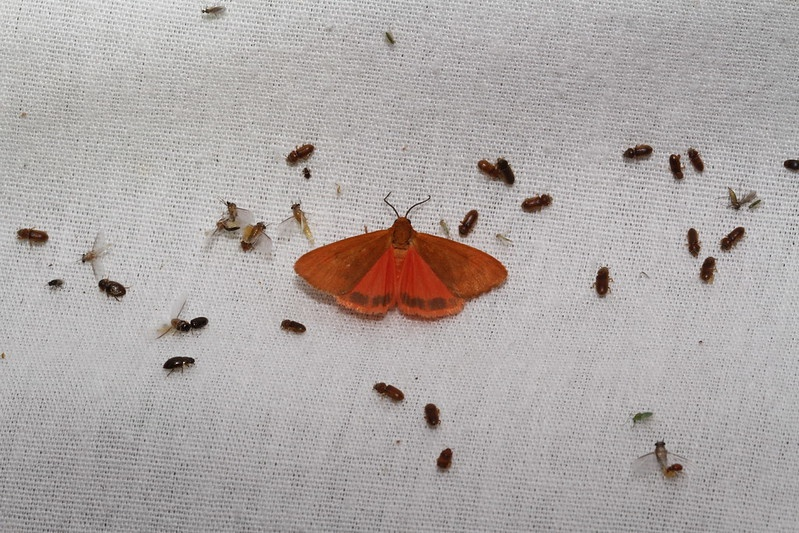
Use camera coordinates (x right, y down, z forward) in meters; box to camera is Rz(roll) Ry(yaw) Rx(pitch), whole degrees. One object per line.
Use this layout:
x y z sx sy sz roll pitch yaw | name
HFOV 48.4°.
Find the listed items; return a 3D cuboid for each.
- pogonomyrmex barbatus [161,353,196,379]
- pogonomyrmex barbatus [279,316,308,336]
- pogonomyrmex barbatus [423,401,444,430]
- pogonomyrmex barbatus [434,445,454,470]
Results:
-1.747 0.766 6.975 0.179 0.073 0.161 -11 73 -2 | pogonomyrmex barbatus
-0.854 0.494 7.101 0.164 0.062 0.116 11 92 -9 | pogonomyrmex barbatus
0.258 1.192 7.014 0.140 0.047 0.216 -4 89 1 | pogonomyrmex barbatus
0.358 1.529 6.999 0.122 0.037 0.180 34 77 4 | pogonomyrmex barbatus
